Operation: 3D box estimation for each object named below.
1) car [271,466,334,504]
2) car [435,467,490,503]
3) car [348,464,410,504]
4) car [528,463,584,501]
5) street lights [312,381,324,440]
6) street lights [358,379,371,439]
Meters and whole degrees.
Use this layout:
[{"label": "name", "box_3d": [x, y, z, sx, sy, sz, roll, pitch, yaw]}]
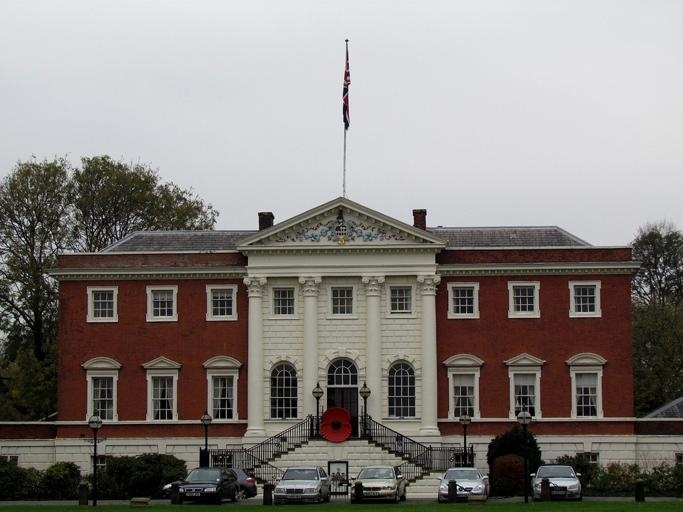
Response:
[{"label": "car", "box_3d": [-2.262, 12.678, 99.368, 2.935, 1.936, 3.352, -1, -10, 2]}, {"label": "car", "box_3d": [6.728, 12.715, 99.847, 2.741, 1.754, 2.692, -2, -10, 14]}, {"label": "car", "box_3d": [2.111, 12.760, 100.053, 1.575, 1.075, 3.346, -2, -12, 9]}, {"label": "car", "box_3d": [12.154, 12.608, 99.927, 2.754, 2.162, 2.669, 1, -13, -3]}, {"label": "street lights", "box_3d": [-1.537, 9.384, 109.939, 0.696, 3.348, 0.916, -1, -13, 2]}, {"label": "street lights", "box_3d": [1.427, 9.313, 109.698, 0.634, 3.340, 0.753, -2, -13, 10]}]
